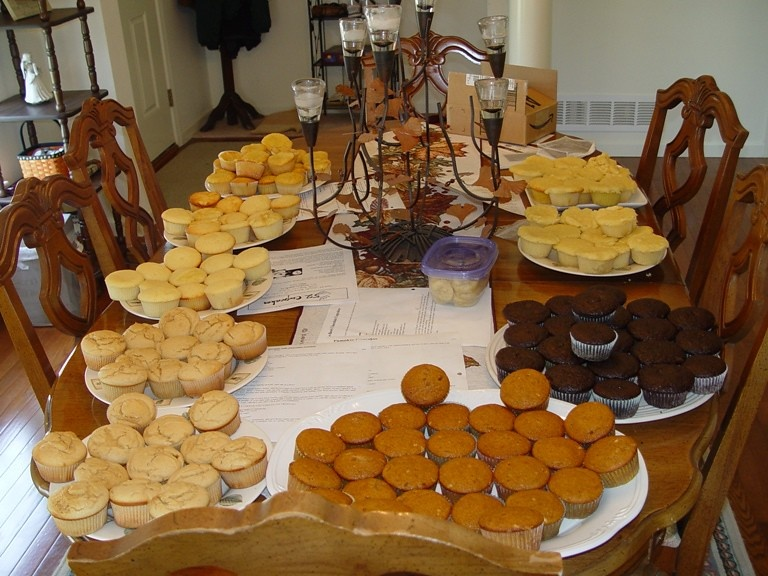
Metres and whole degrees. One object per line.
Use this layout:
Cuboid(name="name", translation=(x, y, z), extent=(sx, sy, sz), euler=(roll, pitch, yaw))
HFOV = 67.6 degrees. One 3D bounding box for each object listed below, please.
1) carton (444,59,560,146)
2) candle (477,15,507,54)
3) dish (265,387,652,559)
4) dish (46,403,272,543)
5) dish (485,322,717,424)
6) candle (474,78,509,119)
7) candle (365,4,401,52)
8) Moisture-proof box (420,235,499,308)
Cuboid(name="carton", translation=(0.492, -0.774, 2.374), extent=(0.388, 0.205, 0.280), euler=(16, 40, 24))
Cuboid(name="candle", translation=(0.300, -0.706, 1.579), extent=(0.075, 0.090, 0.105), euler=(0, 28, 8))
Cuboid(name="dish", translation=(0.154, 0.285, 0.832), extent=(0.336, 0.038, 0.316), euler=(-5, 17, -5))
Cuboid(name="dish", translation=(-0.372, 0.319, 0.997), extent=(0.415, 0.108, 0.393), euler=(-8, 0, 25))
Cuboid(name="dish", translation=(0.481, 0.211, 1.229), extent=(0.476, 0.051, 0.454), euler=(-19, 5, 24))
Cuboid(name="candle", translation=(0.250, -0.442, 1.330), extent=(0.071, 0.090, 0.070), euler=(0, 29, 8))
Cuboid(name="candle", translation=(0.000, -0.597, 1.308), extent=(0.079, 0.098, 0.085), euler=(-5, 28, 0))
Cuboid(name="Moisture-proof box", translation=(0.188, -0.049, 1.393), extent=(0.180, 0.091, 0.189), euler=(2, 36, 20))
